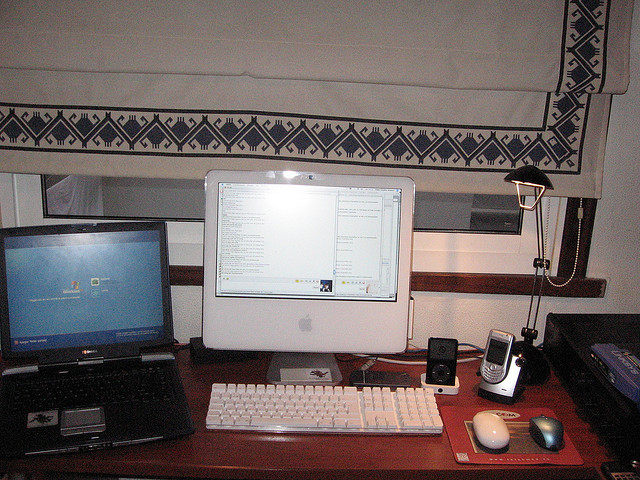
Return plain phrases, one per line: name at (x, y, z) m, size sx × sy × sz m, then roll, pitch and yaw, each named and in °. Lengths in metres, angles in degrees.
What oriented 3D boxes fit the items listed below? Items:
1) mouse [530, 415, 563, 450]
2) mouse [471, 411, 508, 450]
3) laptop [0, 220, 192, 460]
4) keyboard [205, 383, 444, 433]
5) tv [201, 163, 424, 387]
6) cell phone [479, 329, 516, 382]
mouse at (0.596, 0.490, 1.403) m, size 0.079 × 0.054 × 0.142 m, roll 4°, pitch 7°, yaw 9°
mouse at (0.444, 0.490, 1.397) m, size 0.085 × 0.075 × 0.118 m, roll -1°, pitch 5°, yaw 11°
laptop at (-0.617, 0.239, 1.412) m, size 0.498 × 0.556 × 0.321 m, roll -3°, pitch 6°, yaw -15°
keyboard at (0.009, 0.452, 1.428) m, size 0.613 × 0.112 × 0.114 m, roll -2°, pitch 5°, yaw -1°
tv at (-0.042, 0.112, 1.553) m, size 0.627 × 0.619 × 0.221 m, roll 1°, pitch 4°, yaw -2°
cell phone at (0.509, 0.333, 1.528) m, size 0.083 × 0.137 × 0.066 m, roll 1°, pitch 6°, yaw 29°
